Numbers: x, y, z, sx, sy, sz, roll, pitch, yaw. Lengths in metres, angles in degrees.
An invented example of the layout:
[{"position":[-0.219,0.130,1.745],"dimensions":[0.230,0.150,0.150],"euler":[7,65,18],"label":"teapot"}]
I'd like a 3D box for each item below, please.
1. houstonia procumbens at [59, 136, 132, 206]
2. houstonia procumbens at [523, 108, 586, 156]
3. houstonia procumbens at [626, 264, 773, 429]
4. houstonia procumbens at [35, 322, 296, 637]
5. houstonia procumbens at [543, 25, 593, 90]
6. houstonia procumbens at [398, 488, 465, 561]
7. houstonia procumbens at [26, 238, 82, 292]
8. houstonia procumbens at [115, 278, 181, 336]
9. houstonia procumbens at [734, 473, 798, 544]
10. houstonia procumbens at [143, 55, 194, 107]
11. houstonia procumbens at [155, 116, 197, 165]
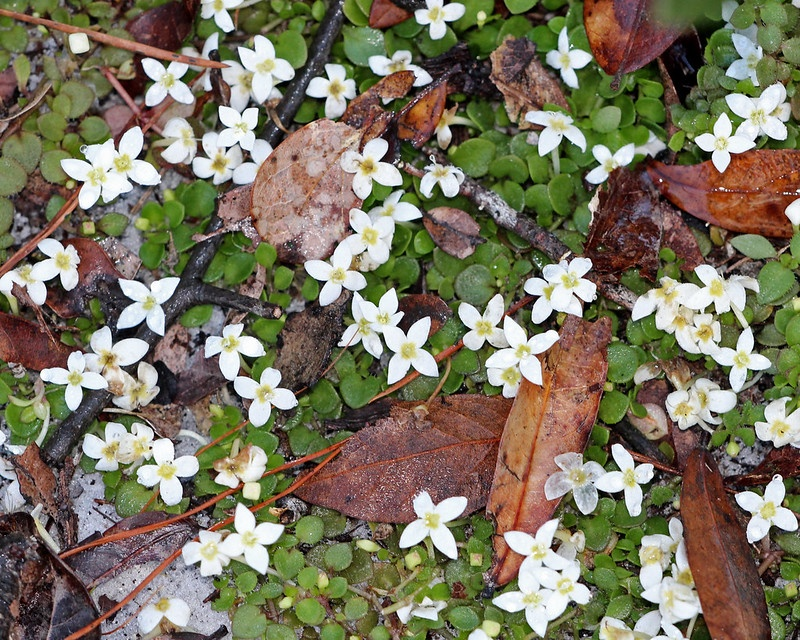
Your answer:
[{"position":[-0.937,-0.444,2.516],"dimensions":[0.175,0.148,0.198],"euler":[-32,79,-10],"label":"houstonia procumbens"},{"position":[0.471,-0.561,2.486],"dimensions":[0.182,0.137,0.115],"euler":[-2,74,-3],"label":"houstonia procumbens"},{"position":[0.902,0.058,2.575],"dimensions":[0.443,0.157,0.468],"euler":[-34,91,16],"label":"houstonia procumbens"},{"position":[-0.701,0.630,2.432],"dimensions":[0.703,0.249,0.487],"euler":[-25,78,-9],"label":"houstonia procumbens"},{"position":[0.533,-0.818,2.541],"dimensions":[0.101,0.123,0.155],"euler":[-38,80,-12],"label":"houstonia procumbens"},{"position":[0.093,0.589,2.339],"dimensions":[0.168,0.168,0.171],"euler":[12,74,1],"label":"houstonia procumbens"},{"position":[-1.103,-0.136,2.523],"dimensions":[0.106,0.173,0.046],"euler":[-7,58,-43],"label":"houstonia procumbens"},{"position":[-0.772,-0.051,2.461],"dimensions":[0.177,0.062,0.175],"euler":[-37,97,-1],"label":"houstonia procumbens"},{"position":[1.090,0.569,2.399],"dimensions":[0.187,0.149,0.173],"euler":[-18,76,-7],"label":"houstonia procumbens"},{"position":[-0.751,-0.764,2.628],"dimensions":[0.150,0.064,0.162],"euler":[43,92,-11],"label":"houstonia procumbens"},{"position":[-0.705,-0.565,2.560],"dimensions":[0.127,0.049,0.139],"euler":[35,82,-13],"label":"houstonia procumbens"}]
